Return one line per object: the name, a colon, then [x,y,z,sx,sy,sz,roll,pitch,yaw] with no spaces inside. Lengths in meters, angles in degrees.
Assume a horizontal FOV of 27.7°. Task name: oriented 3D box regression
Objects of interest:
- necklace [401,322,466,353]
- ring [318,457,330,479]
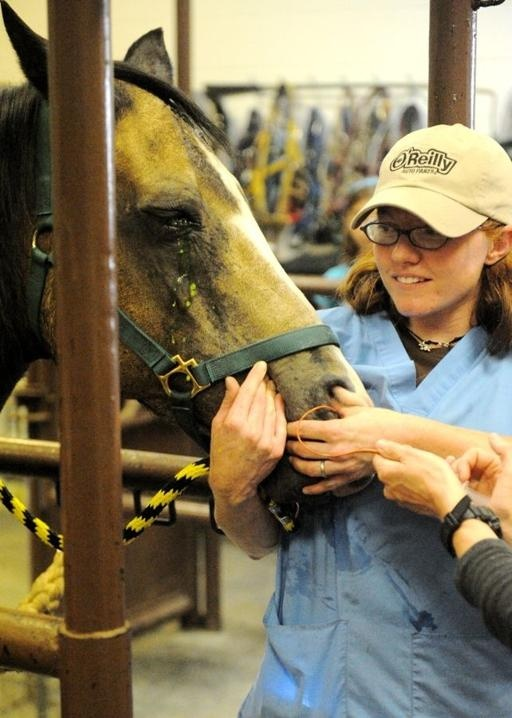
necklace: [0.320,-0.041,1.889,0.069,0.043,0.016,-25,-25,3]
ring: [0.110,0.176,1.685,0.014,0.032,0.010,-2,17,11]
